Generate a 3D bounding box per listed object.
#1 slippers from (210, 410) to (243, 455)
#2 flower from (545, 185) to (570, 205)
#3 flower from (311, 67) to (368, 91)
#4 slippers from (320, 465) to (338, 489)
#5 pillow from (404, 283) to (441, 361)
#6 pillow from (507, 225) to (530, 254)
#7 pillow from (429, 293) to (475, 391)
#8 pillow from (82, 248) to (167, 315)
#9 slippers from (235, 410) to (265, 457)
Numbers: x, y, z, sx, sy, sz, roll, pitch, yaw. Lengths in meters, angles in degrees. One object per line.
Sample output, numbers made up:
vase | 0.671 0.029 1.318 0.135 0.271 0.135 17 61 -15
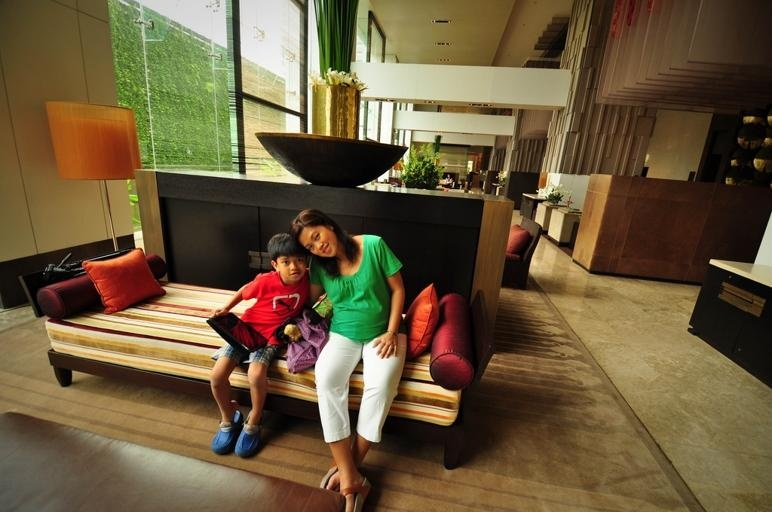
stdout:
slippers | -1.319 1.453 3.879 0.174 0.131 0.365 6 30 6
flower | 3.671 -1.311 10.018 0.459 0.534 0.423 -1 21 4
flower | -0.449 -1.653 4.386 0.499 0.191 0.208 0 18 -10
slippers | -0.456 1.709 3.658 0.088 0.223 0.074 17 -10 -40
pillow | 0.312 0.573 3.959 0.285 0.493 0.563 -1 5 11
pillow | 1.735 -0.201 6.135 0.278 0.331 0.348 6 18 12
pillow | 0.555 0.731 3.916 0.355 0.538 0.614 4 18 6
pillow | -2.390 0.219 4.319 0.297 0.466 0.548 5 19 30
slippers | -1.123 1.468 3.902 0.202 0.170 0.420 0 30 3
